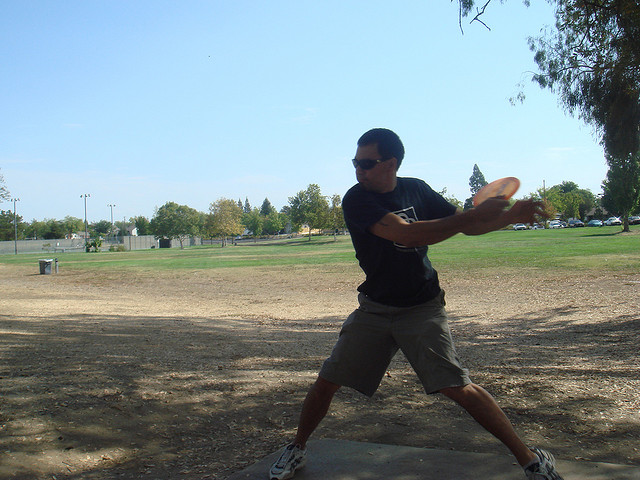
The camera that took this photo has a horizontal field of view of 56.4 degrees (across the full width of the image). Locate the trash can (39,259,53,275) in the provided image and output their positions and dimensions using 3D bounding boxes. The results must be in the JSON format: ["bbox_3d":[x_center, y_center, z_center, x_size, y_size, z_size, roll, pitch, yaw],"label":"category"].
[{"bbox_3d":[-11.530,1.126,25.104,0.415,0.564,0.413,-1,-1,-25],"label":"trash can"}]

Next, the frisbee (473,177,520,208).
[{"bbox_3d":[1.583,-0.447,5.449,0.405,0.234,0.344,-2,-1,32],"label":"frisbee"}]
